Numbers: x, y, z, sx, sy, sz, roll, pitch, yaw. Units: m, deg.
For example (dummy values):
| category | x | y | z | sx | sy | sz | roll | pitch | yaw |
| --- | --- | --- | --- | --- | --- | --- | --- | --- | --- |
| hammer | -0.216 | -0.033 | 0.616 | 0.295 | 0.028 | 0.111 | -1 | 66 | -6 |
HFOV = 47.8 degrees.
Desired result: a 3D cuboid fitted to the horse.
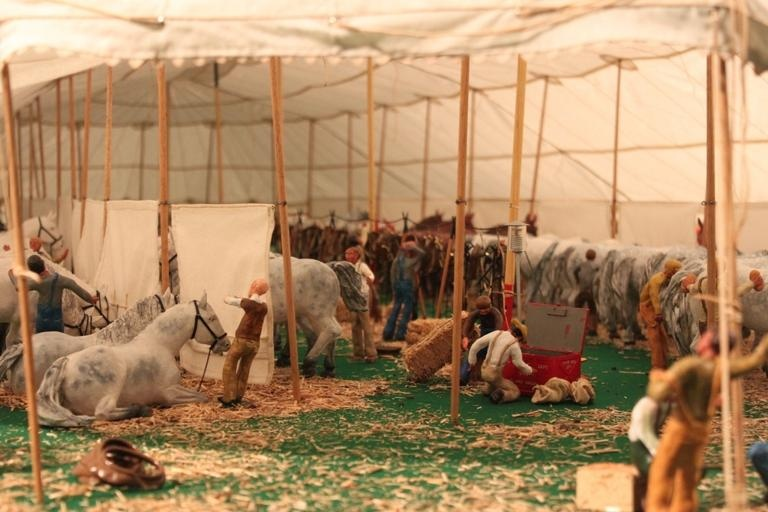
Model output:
| category | x | y | z | sx | sy | sz | roll | pitch | yaw |
| --- | --- | --- | --- | --- | --- | --- | --- | --- | --- |
| horse | -3.266 | 1.318 | 11.297 | 2.862 | 1.658 | 1.056 | -8 | 5 | -34 |
